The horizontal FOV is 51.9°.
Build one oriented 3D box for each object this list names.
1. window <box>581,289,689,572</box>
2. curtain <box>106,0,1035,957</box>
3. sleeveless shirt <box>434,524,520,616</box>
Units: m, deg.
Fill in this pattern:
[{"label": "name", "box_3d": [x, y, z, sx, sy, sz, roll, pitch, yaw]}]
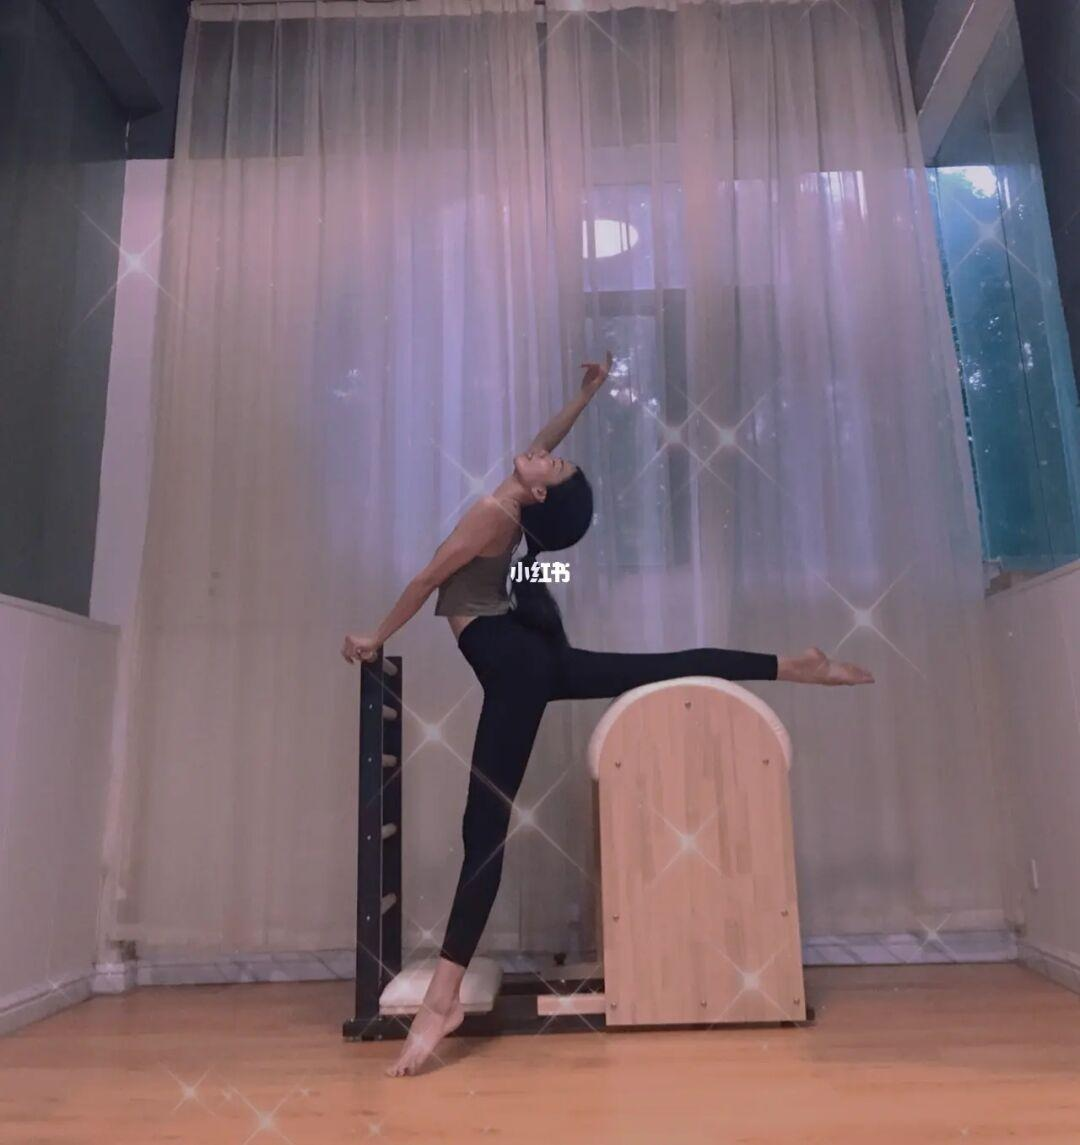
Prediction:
[{"label": "window", "box_3d": [0.279, -0.415, 3.229, 0.270, 0.982, 0.088, 3, 45, 8]}, {"label": "curtain", "box_3d": [0.120, -0.181, 3.060, 1.784, 0.171, 2.947, -1, 81, -1]}, {"label": "sleeveless shirt", "box_3d": [-0.157, 0.017, 2.642, 0.114, 0.168, 0.280, 4, 82, 0]}]
